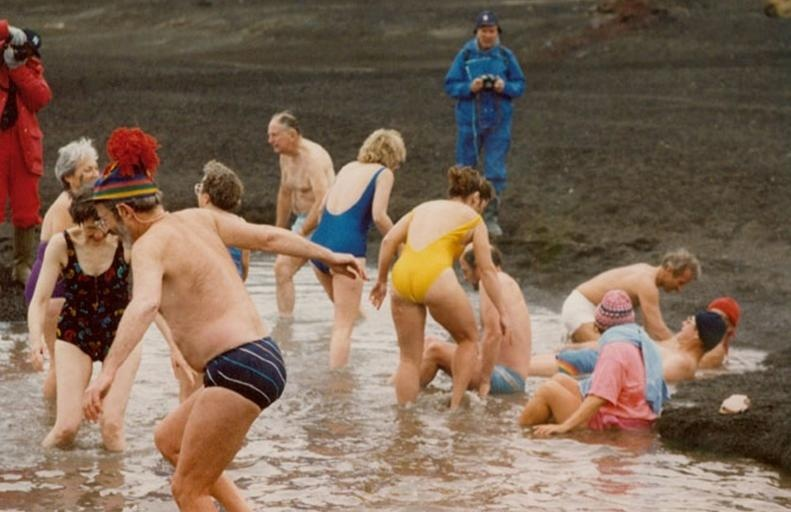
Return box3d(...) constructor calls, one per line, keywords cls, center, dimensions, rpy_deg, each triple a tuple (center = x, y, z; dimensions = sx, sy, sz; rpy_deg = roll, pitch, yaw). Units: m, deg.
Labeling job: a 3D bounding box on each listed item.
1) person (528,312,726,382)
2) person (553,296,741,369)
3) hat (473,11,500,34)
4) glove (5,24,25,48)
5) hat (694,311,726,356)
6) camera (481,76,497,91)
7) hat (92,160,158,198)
box3d(cls="person", center=(3.187, 1.224, 19.087), dimensions=(2.918, 1.029, 1.468), rpy_deg=(0, 15, 20))
box3d(cls="person", center=(3.249, 1.225, 18.658), dimensions=(2.400, 0.927, 1.329), rpy_deg=(-2, 9, 16))
box3d(cls="hat", center=(1.470, -3.684, 21.629), dimensions=(0.378, 0.287, 0.365), rpy_deg=(4, 9, 3))
box3d(cls="glove", center=(-5.662, -3.292, 20.533), dimensions=(0.323, 0.295, 0.208), rpy_deg=(3, 10, 1))
box3d(cls="hat", center=(4.278, 1.051, 18.615), dimensions=(0.436, 0.601, 0.424), rpy_deg=(6, 10, 14))
box3d(cls="camera", center=(1.475, -2.734, 21.714), dimensions=(0.263, 0.238, 0.179), rpy_deg=(0, 11, -7))
box3d(cls="hat", center=(-3.111, -0.876, 16.202), dimensions=(0.930, 0.441, 0.653), rpy_deg=(-2, 6, 23))
